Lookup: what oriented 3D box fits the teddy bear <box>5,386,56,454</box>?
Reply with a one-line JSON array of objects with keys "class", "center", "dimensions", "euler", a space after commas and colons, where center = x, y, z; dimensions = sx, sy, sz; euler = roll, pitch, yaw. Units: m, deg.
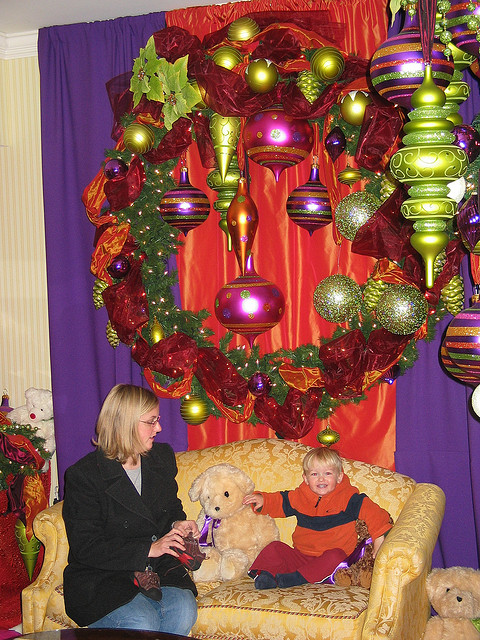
[{"class": "teddy bear", "center": [-1.309, 0.641, 4.421], "dimensions": [0.301, 0.393, 0.226], "euler": [0, 11, -4]}]

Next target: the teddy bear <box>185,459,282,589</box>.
[{"class": "teddy bear", "center": [-0.083, 0.941, 3.231], "dimensions": [0.432, 0.477, 0.374], "euler": [-12, 8, -34]}]

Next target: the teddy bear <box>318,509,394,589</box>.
[{"class": "teddy bear", "center": [0.484, 1.034, 3.100], "dimensions": [0.263, 0.299, 0.108], "euler": [-2, -27, 3]}]

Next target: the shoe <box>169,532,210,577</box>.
[{"class": "shoe", "center": [-0.216, 0.951, 2.800], "dimensions": [0.139, 0.199, 0.156], "euler": [1, 11, -1]}]

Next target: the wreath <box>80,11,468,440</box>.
[{"class": "wreath", "center": [0.112, -0.481, 3.621], "dimensions": [1.891, 2.153, 0.774], "euler": [7, 13, 30]}]

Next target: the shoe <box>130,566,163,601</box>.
[{"class": "shoe", "center": [-0.352, 1.015, 2.669], "dimensions": [0.091, 0.102, 0.134], "euler": [-6, 12, -33]}]

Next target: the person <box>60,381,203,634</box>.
[{"class": "person", "center": [-0.425, 0.760, 2.771], "dimensions": [0.561, 0.934, 0.570], "euler": [-5, 12, -28]}]

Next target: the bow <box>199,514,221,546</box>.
[{"class": "bow", "center": [-0.158, 0.981, 3.233], "dimensions": [0.046, 0.130, 0.103], "euler": [7, 0, -23]}]
